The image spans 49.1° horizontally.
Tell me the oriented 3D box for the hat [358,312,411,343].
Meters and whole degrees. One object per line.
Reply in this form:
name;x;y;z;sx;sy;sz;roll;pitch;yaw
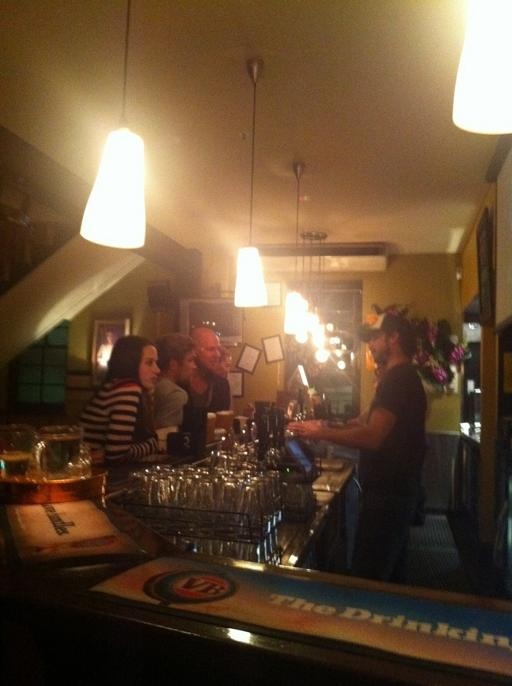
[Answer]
hat;0.525;-0.064;2.306;0.060;0.124;0.222;2;1;-43

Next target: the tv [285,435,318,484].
tv;0.153;0.387;1.905;0.054;0.124;0.158;-25;-5;9
